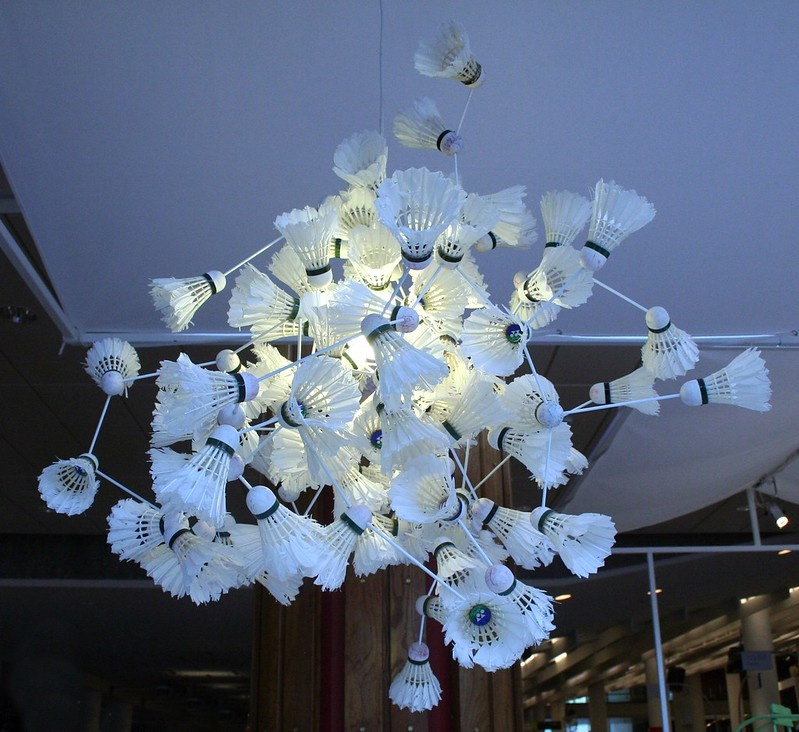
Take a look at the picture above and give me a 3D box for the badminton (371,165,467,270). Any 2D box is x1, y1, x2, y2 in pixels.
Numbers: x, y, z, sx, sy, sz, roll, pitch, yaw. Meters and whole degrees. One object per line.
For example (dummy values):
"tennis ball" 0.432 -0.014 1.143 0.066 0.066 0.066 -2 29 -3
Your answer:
"badminton" 0.046 -0.281 1.668 0.212 0.193 0.215 6 -5 -1

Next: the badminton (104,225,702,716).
"badminton" 0.029 0.255 2.014 1.226 1.243 0.896 -10 -31 -10

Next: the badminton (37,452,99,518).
"badminton" -0.720 0.250 1.766 0.114 0.154 0.104 9 -29 -23

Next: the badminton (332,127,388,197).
"badminton" -0.081 -0.482 1.968 0.145 0.149 0.141 4 -15 10

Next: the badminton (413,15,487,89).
"badminton" 0.127 -0.769 2.044 0.134 0.148 0.145 5 -64 -44

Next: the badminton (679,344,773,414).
"badminton" 0.743 0.047 1.868 0.191 0.159 0.159 -13 -69 32

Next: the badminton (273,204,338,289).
"badminton" -0.196 -0.244 1.803 0.117 0.151 0.116 -12 8 13

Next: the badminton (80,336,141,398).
"badminton" -0.699 0.026 2.009 0.147 0.152 0.137 -9 15 -9

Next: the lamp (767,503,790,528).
"lamp" 2.134 0.841 4.613 0.072 0.148 0.072 -28 -65 -7

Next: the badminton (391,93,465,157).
"badminton" 0.055 -0.589 2.030 0.119 0.167 0.159 22 -36 -40

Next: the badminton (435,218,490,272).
"badminton" 0.129 -0.253 1.776 0.108 0.095 0.099 18 -8 -23
